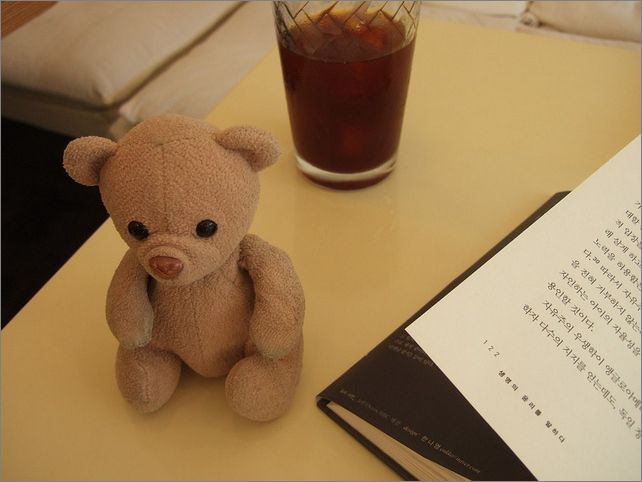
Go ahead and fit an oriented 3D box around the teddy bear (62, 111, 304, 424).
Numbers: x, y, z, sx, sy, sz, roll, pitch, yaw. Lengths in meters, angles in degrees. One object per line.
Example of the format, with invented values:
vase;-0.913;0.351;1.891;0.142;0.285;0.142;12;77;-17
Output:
teddy bear;-0.123;0.045;0.587;0.202;0.263;0.214;-11;52;-11
